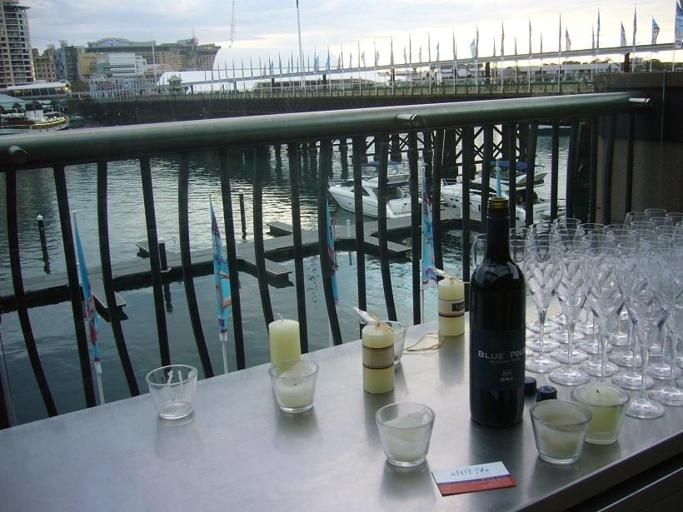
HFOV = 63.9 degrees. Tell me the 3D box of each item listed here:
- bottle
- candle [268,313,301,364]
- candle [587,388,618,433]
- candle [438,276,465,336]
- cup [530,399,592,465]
[{"bbox_3d":[0.282,0.100,0.993,0.091,0.407,0.098,-4,17,1],"label":"bottle"},{"bbox_3d":[-0.129,0.188,1.297,0.064,0.068,0.115,-2,49,-20],"label":"candle"},{"bbox_3d":[0.465,0.269,0.983,0.063,0.050,0.056,-13,11,-30],"label":"candle"},{"bbox_3d":[0.283,0.132,1.417,0.070,0.130,0.073,1,10,26],"label":"candle"},{"bbox_3d":[0.374,0.294,0.938,0.097,0.080,0.105,-5,14,1],"label":"cup"}]
